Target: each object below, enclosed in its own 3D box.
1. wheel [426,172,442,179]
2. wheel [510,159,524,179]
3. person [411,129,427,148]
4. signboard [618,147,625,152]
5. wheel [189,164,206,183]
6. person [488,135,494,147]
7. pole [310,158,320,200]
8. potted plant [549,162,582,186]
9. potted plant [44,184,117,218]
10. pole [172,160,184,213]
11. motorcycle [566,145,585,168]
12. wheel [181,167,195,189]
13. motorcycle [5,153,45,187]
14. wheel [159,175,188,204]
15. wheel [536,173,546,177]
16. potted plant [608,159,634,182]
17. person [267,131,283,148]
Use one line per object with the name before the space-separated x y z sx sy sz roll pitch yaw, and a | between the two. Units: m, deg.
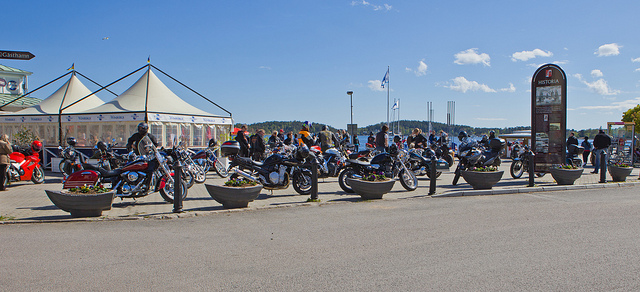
wheel | 6.402 1.649 23.634 0.752 0.648 0.272 1 2 5
wheel | 12.037 1.414 25.581 0.883 1.245 0.408 -2 0 -9
person | 6.714 -0.412 28.502 0.889 1.195 1.874 -2 0 12
signboard | 23.834 0.253 33.136 0.352 0.293 0.168 3 -26 6
wheel | -6.871 1.623 23.603 0.279 0.888 0.994 -30 -29 36
person | 10.144 -0.330 24.993 0.606 0.737 0.289 20 -14 -42
pole | -0.272 1.604 20.308 0.381 1.941 0.523 -2 0 -2
potted plant | 13.954 1.591 23.659 1.505 0.830 1.447 -2 2 -38
potted plant | -10.213 2.361 18.250 2.134 0.782 1.690 2 -3 -12
pole | -6.375 1.833 18.746 0.481 2.168 0.483 -2 0 -12
motorcycle | 16.607 0.667 27.252 1.742 1.573 0.793 -2 -1 -39
wheel | -6.847 1.647 21.435 0.313 0.914 0.995 -16 0 -43
motorcycle | -16.948 1.213 23.182 2.542 1.296 1.050 -6 6 -43
wheel | -6.830 2.042 19.731 1.237 1.072 1.147 3 2 0
wheel | 13.643 1.703 25.888 0.577 0.498 0.195 -4 3 -22
potted plant | 17.567 1.430 24.521 1.407 0.856 1.318 -2 3 -25
person | -2.926 -0.391 26.905 0.947 1.048 0.476 9 -5 -5
